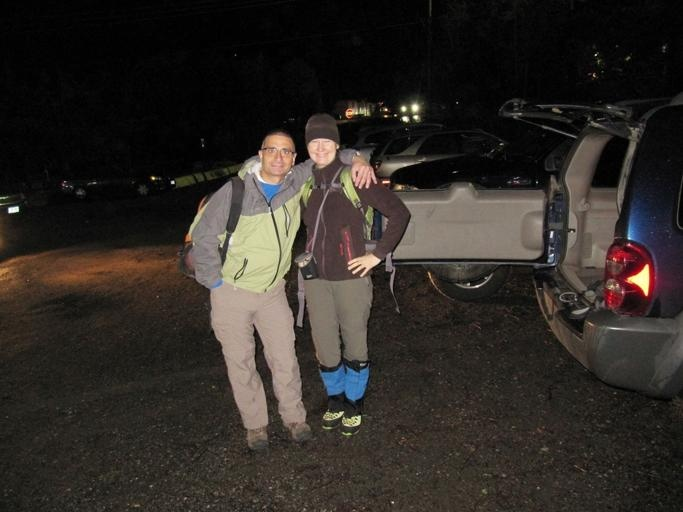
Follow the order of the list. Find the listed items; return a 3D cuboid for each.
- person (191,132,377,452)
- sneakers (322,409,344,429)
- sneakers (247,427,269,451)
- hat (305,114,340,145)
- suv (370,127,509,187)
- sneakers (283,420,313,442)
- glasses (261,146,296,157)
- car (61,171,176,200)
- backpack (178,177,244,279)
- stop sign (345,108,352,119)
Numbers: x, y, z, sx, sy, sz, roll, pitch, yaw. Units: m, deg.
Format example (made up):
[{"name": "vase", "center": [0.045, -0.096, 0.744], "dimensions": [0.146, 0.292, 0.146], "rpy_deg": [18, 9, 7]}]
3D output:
[{"name": "person", "center": [-0.613, 0.314, 3.616], "dimensions": [0.920, 2.363, 0.613], "rpy_deg": [-12, 21, -18]}, {"name": "sneakers", "center": [-0.073, 1.355, 3.945], "dimensions": [0.094, 0.087, 0.202], "rpy_deg": [0, -5, 17]}, {"name": "sneakers", "center": [-0.656, 1.419, 3.740], "dimensions": [0.164, 0.167, 0.160], "rpy_deg": [-3, -11, -19]}, {"name": "hat", "center": [-0.135, -0.964, 3.616], "dimensions": [0.220, 0.189, 0.235], "rpy_deg": [2, 13, 1]}, {"name": "suv", "center": [2.350, -2.195, 11.142], "dimensions": [3.105, 1.165, 1.446], "rpy_deg": [-17, 21, -7]}, {"name": "sneakers", "center": [-0.317, 1.395, 3.771], "dimensions": [0.208, 0.212, 0.127], "rpy_deg": [0, -3, -23]}, {"name": "glasses", "center": [-0.457, -0.749, 3.399], "dimensions": [0.205, 0.075, 0.052], "rpy_deg": [-8, 21, -6]}, {"name": "car", "center": [-8.281, -2.560, 17.453], "dimensions": [2.622, 0.641, 1.441], "rpy_deg": [-8, 10, -5]}, {"name": "backpack", "center": [-0.955, -0.197, 3.547], "dimensions": [0.499, 0.755, 0.428], "rpy_deg": [3, 6, -33]}, {"name": "stop sign", "center": [0.724, -12.319, 40.896], "dimensions": [0.883, 0.898, 0.310], "rpy_deg": [1, -4, -23]}]
